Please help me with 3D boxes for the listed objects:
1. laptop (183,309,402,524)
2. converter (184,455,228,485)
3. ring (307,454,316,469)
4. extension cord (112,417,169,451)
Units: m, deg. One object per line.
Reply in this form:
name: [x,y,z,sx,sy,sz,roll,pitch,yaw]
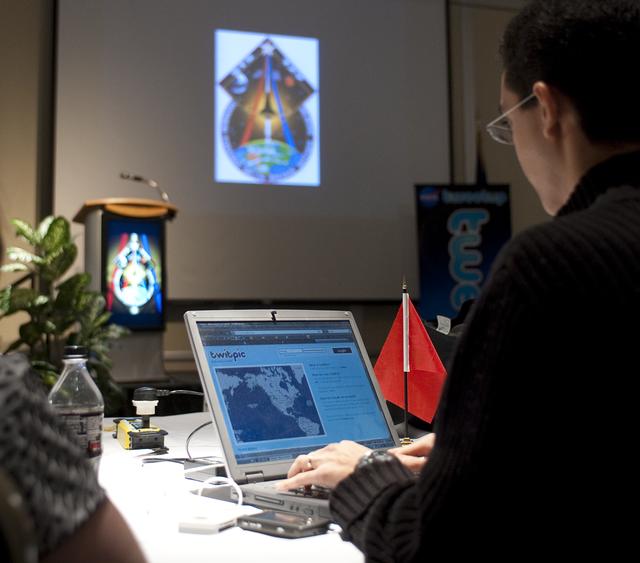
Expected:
laptop: [-0.060,0.202,1.205,0.350,0.262,0.323,1,-2,-39]
converter: [-0.218,0.353,1.221,0.060,0.027,0.067,4,-4,-35]
ring: [-0.016,0.300,1.041,0.009,0.023,0.016,4,8,-18]
extension cord: [-0.446,0.371,1.547,0.093,0.060,0.108,3,2,-22]
